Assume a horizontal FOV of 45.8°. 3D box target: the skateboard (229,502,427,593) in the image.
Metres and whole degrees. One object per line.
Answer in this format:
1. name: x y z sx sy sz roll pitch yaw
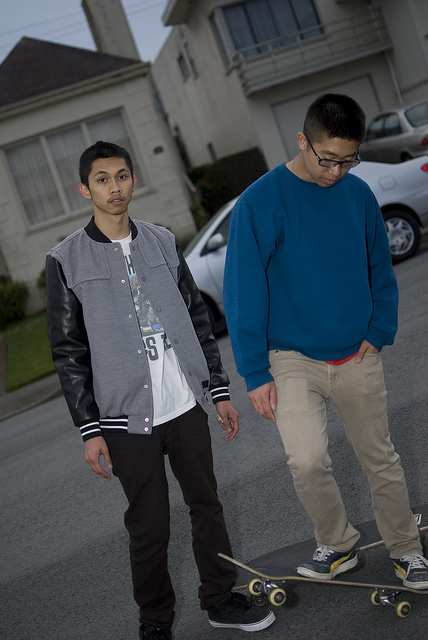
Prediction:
1. skateboard: 0.508 0.976 2.159 0.905 0.134 0.249 -23 8 11

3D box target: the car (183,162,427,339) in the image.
1. car: 2.093 -1.565 9.296 5.178 1.854 2.184 -19 2 -7
